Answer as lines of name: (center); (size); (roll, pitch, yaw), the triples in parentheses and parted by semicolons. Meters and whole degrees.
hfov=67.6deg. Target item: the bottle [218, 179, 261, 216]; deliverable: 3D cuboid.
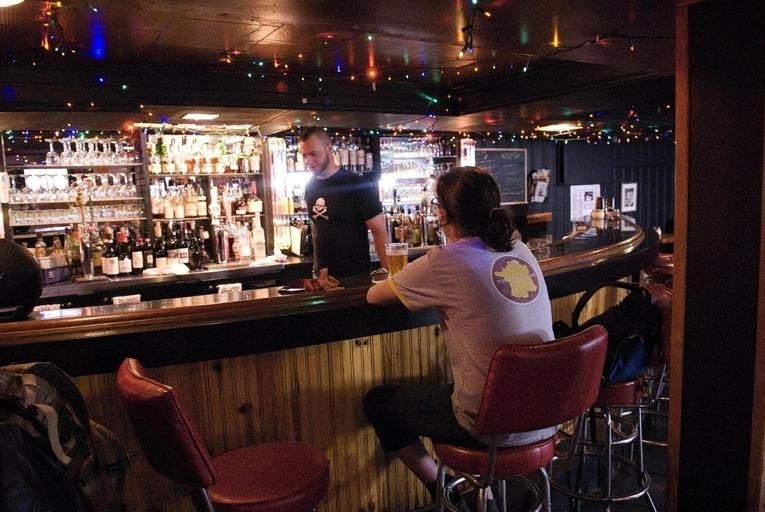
bottle: (-1.569, -0.622, 6.194); (0.413, 0.372, 0.219); (-8, 5, -35)

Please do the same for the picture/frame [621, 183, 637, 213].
picture/frame: (4.456, -1.076, 10.388); (0.570, 0.578, 0.040); (-9, 7, -42)

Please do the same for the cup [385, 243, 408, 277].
cup: (0.069, 0.020, 2.971); (0.116, 0.169, 0.114); (-1, 4, 0)

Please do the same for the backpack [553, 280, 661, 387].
backpack: (1.383, 0.364, 3.182); (0.392, 0.547, 0.524); (0, 51, 29)

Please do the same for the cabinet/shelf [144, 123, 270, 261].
cabinet/shelf: (-1.746, -0.622, 6.277); (1.401, 1.307, 0.410); (3, 1, 27)

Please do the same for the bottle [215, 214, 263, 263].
bottle: (-1.519, -0.162, 5.961); (0.508, 0.473, 0.243); (-1, 10, -5)
